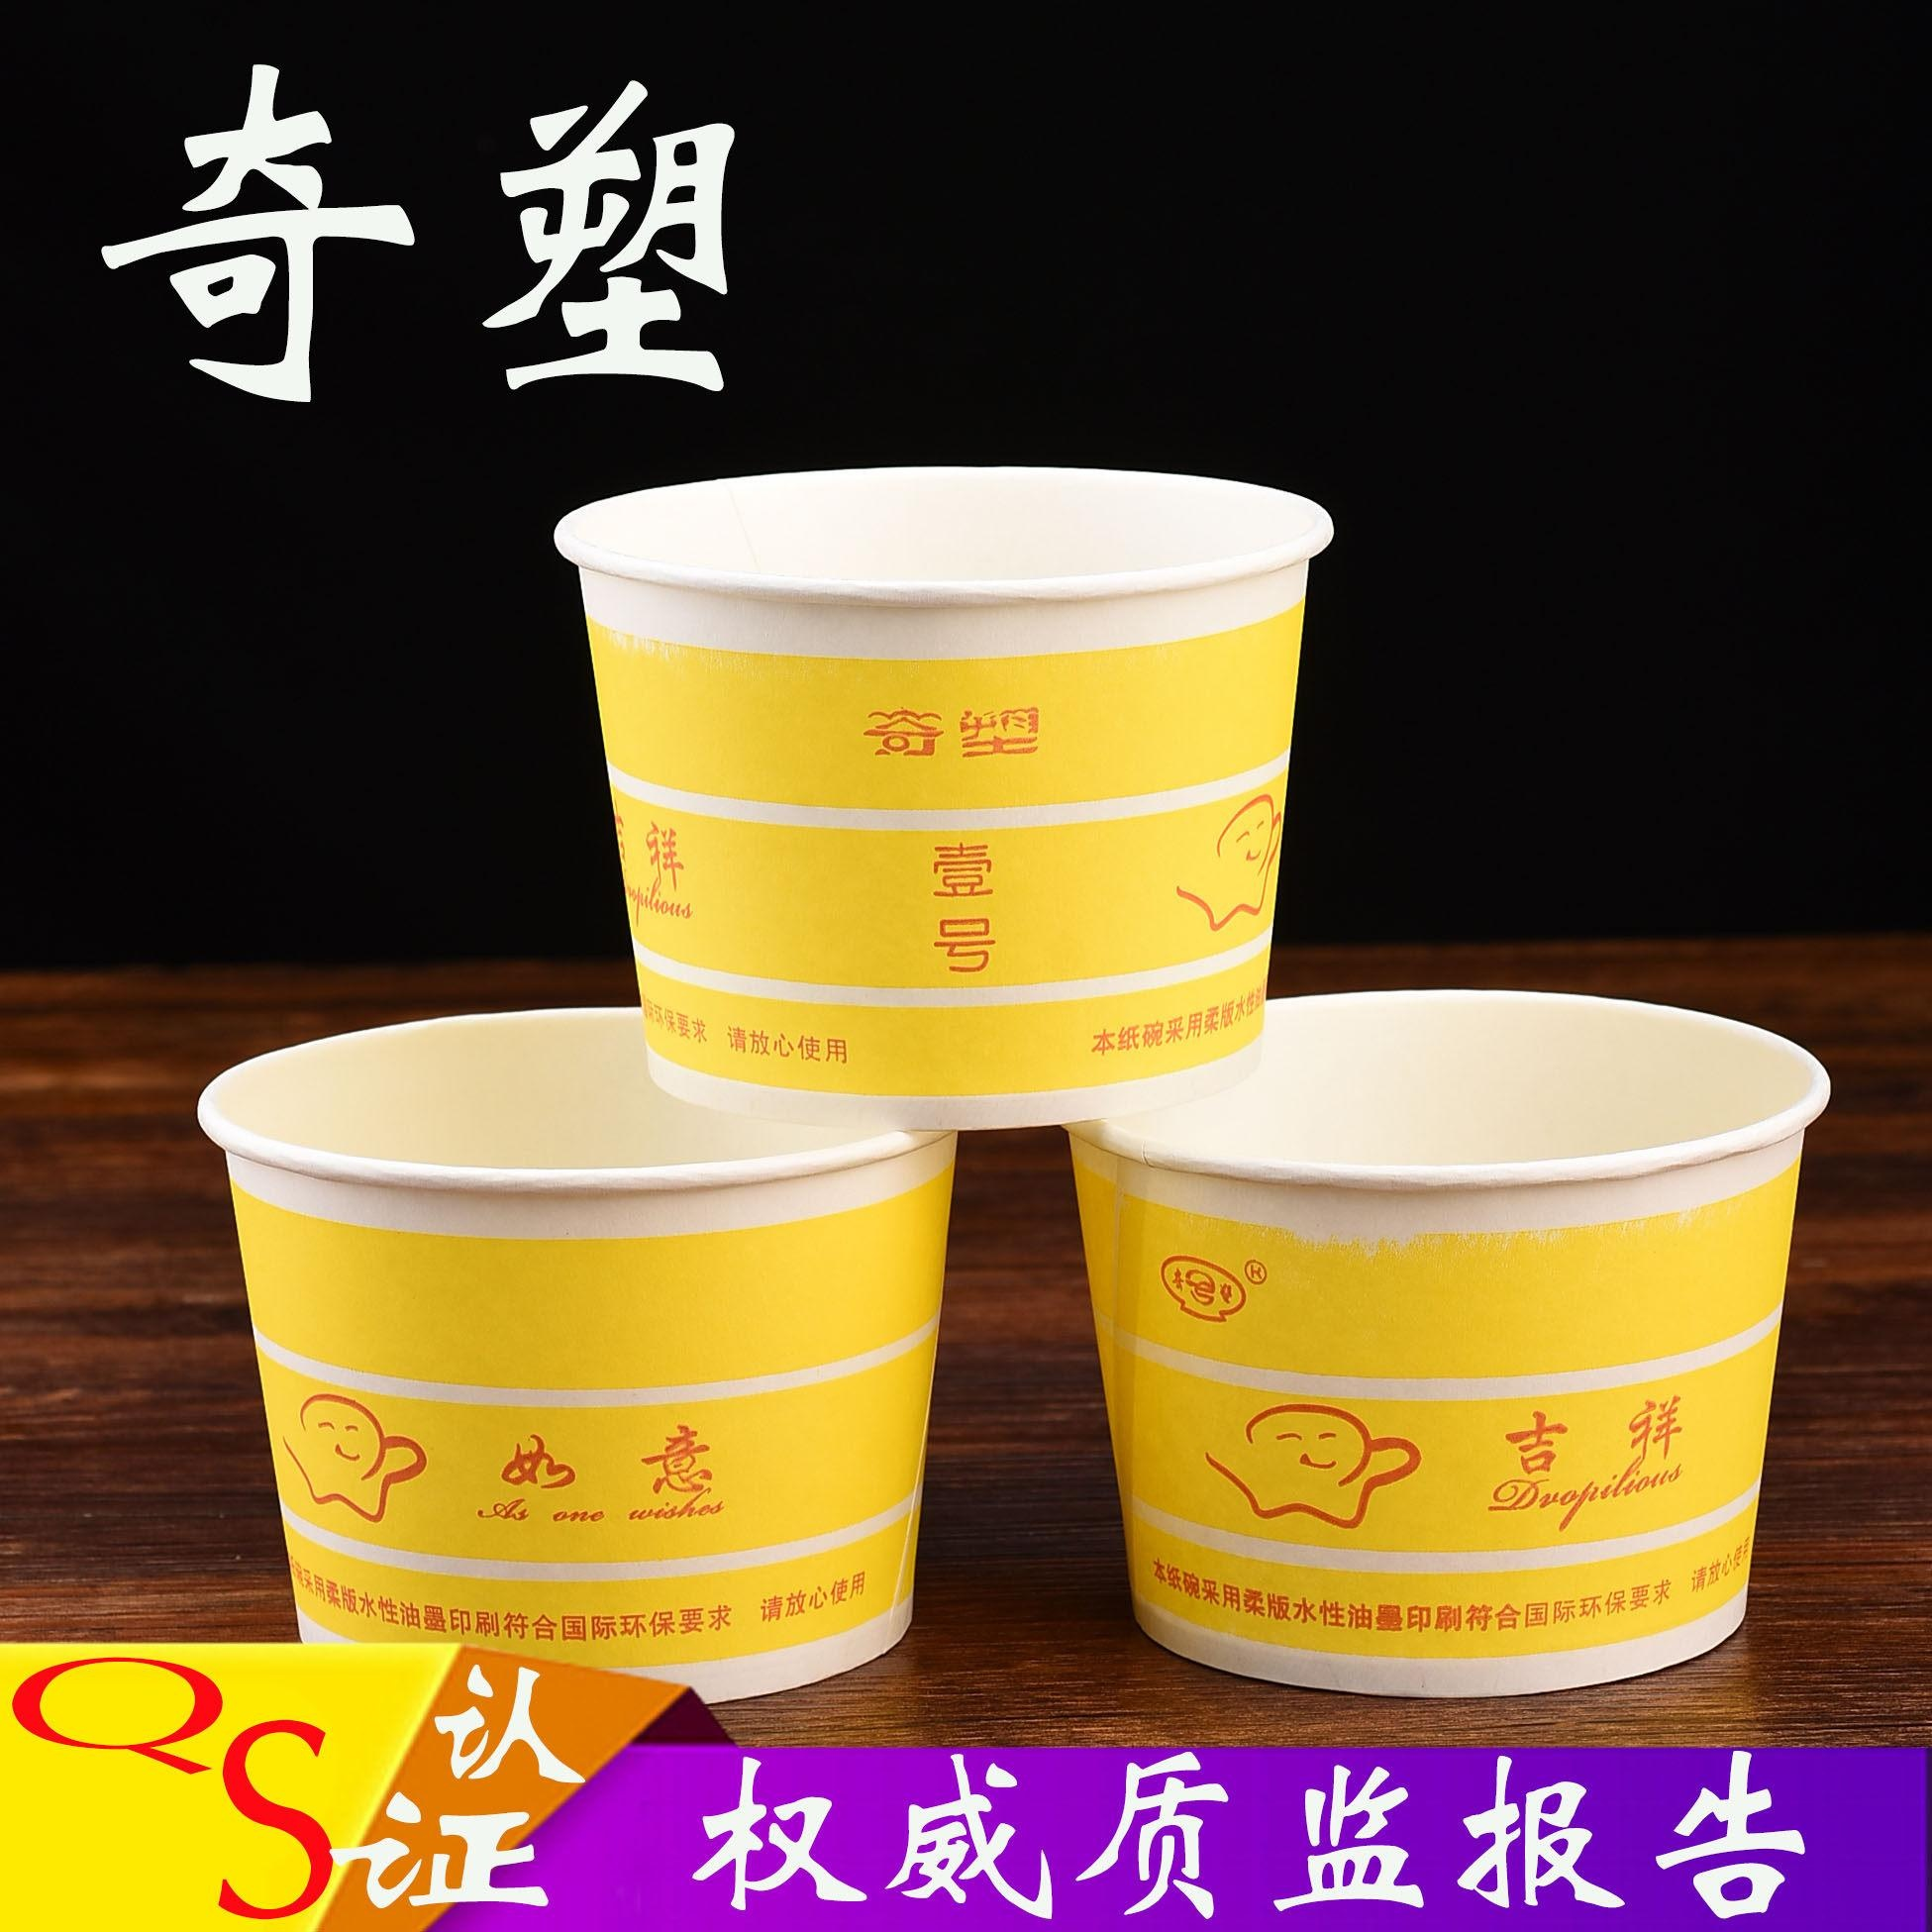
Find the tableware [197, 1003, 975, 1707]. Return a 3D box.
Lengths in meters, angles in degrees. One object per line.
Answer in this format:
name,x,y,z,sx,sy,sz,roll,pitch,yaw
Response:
tableware,-0.202,0.222,1.395,0.526,0.286,0.426,3,10,13

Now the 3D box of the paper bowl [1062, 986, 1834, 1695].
paper bowl,0.265,0.183,1.460,0.501,0.265,0.467,-1,6,0

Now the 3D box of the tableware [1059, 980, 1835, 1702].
tableware,0.264,0.187,1.454,0.499,0.265,0.469,-3,6,-20

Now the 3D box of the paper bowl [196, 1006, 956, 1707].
paper bowl,-0.140,0.210,1.387,0.524,0.284,0.426,3,11,15
